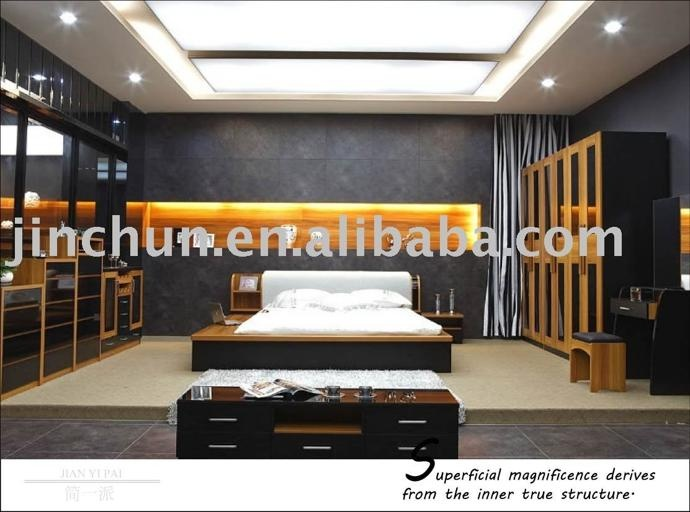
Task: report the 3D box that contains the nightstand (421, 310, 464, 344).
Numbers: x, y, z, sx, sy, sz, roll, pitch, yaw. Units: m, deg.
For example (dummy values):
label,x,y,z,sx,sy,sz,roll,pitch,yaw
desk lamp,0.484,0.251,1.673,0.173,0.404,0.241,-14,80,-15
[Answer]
label,x,y,z,sx,sy,sz,roll,pitch,yaw
nightstand,1.345,0.930,6.985,0.693,0.441,0.365,0,-4,1

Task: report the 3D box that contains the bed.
label,x,y,z,sx,sy,sz,roll,pitch,yaw
bed,-0.259,0.717,6.209,2.675,1.027,1.883,-1,0,-1

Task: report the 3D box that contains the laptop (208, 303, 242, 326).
label,x,y,z,sx,sy,sz,roll,pitch,yaw
laptop,-1.403,0.709,6.012,0.314,0.195,0.310,2,0,-25

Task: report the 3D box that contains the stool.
label,x,y,z,sx,sy,sz,roll,pitch,yaw
stool,2.394,0.929,5.080,0.457,0.677,0.811,1,-5,3
